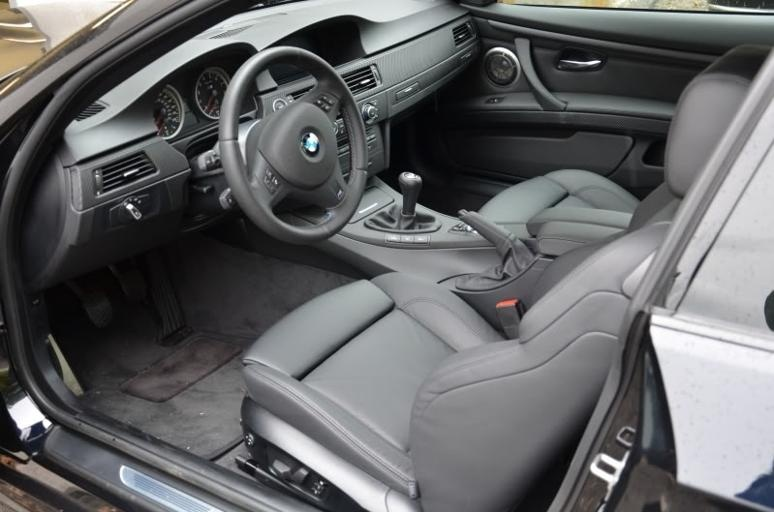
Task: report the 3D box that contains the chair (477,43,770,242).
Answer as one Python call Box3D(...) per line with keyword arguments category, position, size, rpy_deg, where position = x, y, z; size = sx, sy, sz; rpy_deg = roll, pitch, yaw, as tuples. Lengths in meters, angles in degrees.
Box3D(category="chair", position=(0.766, -0.410, 1.985), size=(0.757, 0.788, 0.465), rpy_deg=(28, 42, 27))
